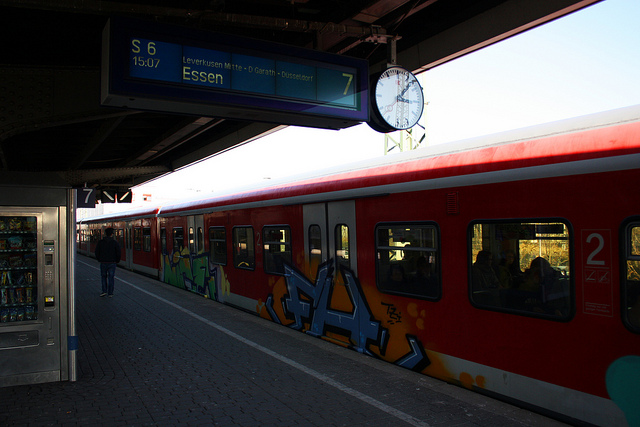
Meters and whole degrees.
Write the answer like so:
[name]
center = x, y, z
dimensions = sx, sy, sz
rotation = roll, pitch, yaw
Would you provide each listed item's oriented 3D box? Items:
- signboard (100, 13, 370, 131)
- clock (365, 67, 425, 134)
[signboard]
center = -1.256, -2.150, 7.199
dimensions = 3.807, 1.442, 0.291
rotation = -4, 5, -20
[clock]
center = 1.330, -2.016, 8.210
dimensions = 0.981, 1.067, 0.976
rotation = 5, 5, 37
